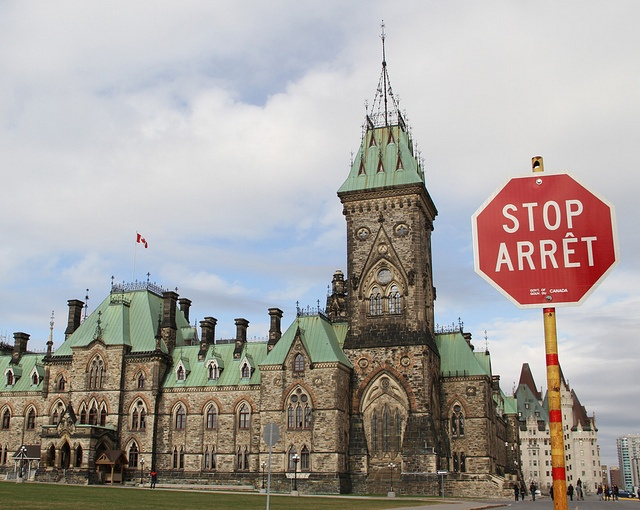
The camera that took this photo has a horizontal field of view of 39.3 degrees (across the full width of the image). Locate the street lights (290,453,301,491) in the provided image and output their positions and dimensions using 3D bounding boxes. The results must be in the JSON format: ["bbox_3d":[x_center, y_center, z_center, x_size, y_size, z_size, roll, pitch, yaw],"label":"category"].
[{"bbox_3d":[-2.221,18.500,77.154,0.569,3.170,0.709,14,-23,-36],"label":"street lights"}]
